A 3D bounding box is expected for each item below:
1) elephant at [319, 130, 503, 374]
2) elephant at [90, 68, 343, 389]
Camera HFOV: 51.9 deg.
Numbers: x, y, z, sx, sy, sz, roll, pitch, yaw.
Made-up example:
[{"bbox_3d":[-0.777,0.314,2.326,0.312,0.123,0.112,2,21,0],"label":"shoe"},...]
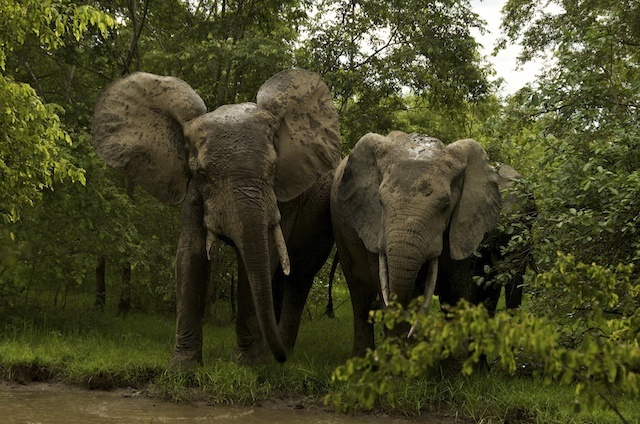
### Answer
[{"bbox_3d":[1.606,0.524,10.854,2.491,3.583,4.796,5,5,13],"label":"elephant"},{"bbox_3d":[-1.783,0.042,11.341,3.653,4.614,6.158,-1,6,-7],"label":"elephant"}]
